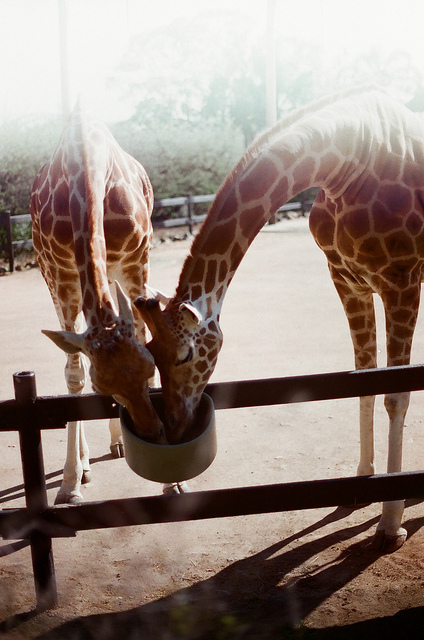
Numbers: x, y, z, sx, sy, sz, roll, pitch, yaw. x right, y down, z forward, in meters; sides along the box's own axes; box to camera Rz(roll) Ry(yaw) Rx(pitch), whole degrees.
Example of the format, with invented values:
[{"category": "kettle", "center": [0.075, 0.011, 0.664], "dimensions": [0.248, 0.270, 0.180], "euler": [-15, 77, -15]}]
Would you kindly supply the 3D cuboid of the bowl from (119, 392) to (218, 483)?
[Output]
[{"category": "bowl", "center": [-0.145, 0.501, 3.007], "dimensions": [0.380, 0.208, 0.351], "euler": [-2, 29, 1]}]
